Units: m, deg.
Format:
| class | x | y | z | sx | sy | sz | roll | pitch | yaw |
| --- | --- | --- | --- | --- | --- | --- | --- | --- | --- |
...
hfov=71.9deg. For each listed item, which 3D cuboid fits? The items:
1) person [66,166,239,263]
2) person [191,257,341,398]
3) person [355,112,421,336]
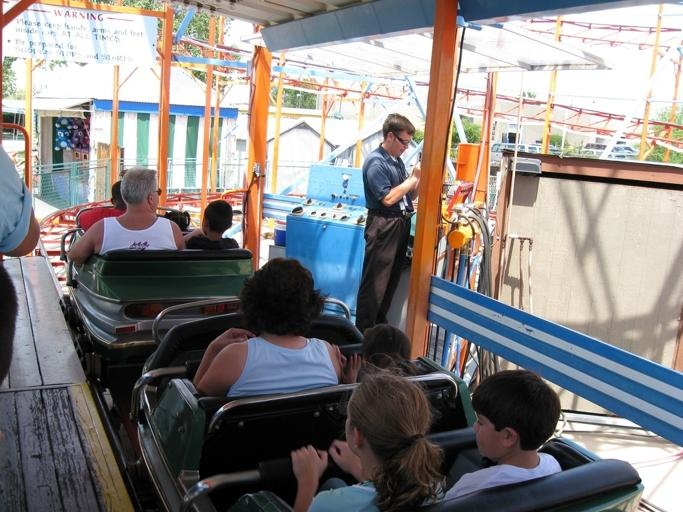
| class | x | y | z | sx | sy | sz | roll | pitch | yaw |
| --- | --- | --- | --- | --- | --- | --- | --- | --- | --- |
| person | -1.825 | -0.286 | 3.964 | 0.844 | 0.670 | 1.315 | 3 | 7 | -8 |
| person | -0.461 | 0.390 | 2.572 | 0.465 | 0.716 | 0.406 | 8 | 20 | -17 |
| person | 0.440 | -0.315 | 5.196 | 0.642 | 2.405 | 0.487 | 10 | 8 | 7 |
